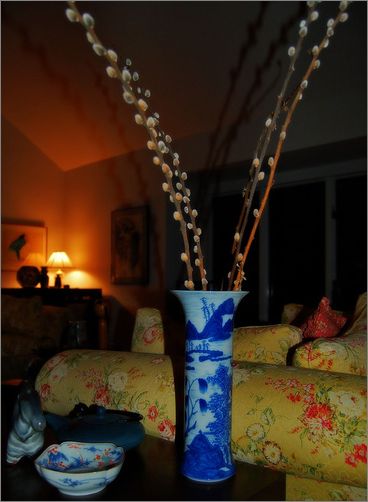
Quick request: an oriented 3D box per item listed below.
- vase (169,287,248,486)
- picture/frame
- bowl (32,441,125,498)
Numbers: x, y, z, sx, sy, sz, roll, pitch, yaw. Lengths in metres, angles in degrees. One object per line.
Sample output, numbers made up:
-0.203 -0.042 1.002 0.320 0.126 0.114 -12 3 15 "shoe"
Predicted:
0.041 0.215 0.611 0.107 0.302 0.085 0 -7 8 "vase"
-0.637 -0.056 4.575 0.058 1.341 0.946 2 -2 -42 "picture/frame"
-0.163 0.335 0.606 0.096 0.034 0.087 2 -5 -9 "bowl"
